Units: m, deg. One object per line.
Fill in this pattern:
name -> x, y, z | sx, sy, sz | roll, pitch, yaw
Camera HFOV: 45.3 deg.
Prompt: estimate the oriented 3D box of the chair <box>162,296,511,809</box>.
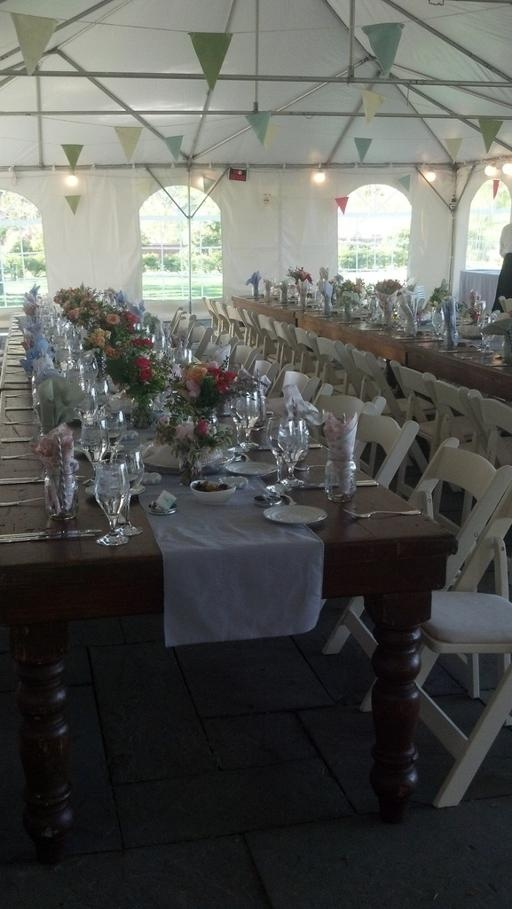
chair -> 0.234, 0.393, 1.604 | 0.503, 1.017, 0.721 | -1, 13, -1
